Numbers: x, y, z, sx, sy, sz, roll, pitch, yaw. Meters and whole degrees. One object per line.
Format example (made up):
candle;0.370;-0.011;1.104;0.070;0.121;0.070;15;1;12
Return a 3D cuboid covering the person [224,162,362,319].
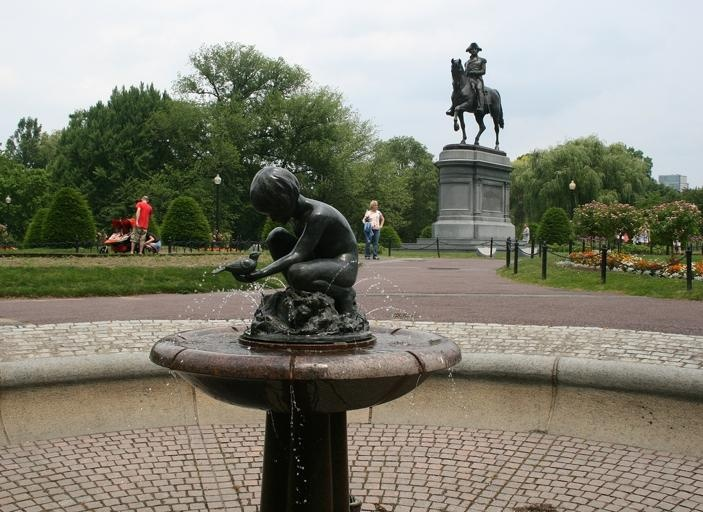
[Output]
person;-0.450;-0.143;6.147;0.990;1.243;0.472;1;2;-2

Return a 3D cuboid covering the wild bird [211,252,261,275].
wild bird;-0.977;0.069;6.079;0.380;0.219;0.177;-1;11;-5

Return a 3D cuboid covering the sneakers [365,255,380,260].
sneakers;0.731;0.083;27.632;0.181;0.247;0.555;3;-7;-40
